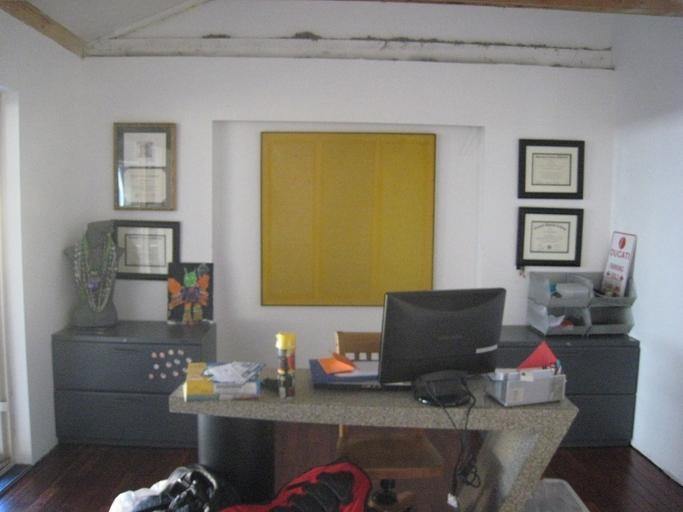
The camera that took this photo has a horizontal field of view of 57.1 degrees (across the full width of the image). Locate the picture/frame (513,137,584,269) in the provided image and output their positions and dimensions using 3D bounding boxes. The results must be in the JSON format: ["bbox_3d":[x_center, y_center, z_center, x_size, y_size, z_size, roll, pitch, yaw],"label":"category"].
[{"bbox_3d":[1.789,-0.515,5.428,1.065,1.020,0.081,1,6,2],"label":"picture/frame"}]

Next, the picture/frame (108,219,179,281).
[{"bbox_3d":[-1.689,-0.079,5.355,0.510,0.447,0.036,0,5,0],"label":"picture/frame"}]

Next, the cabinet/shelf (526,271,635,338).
[{"bbox_3d":[1.963,0.446,5.182,0.855,0.559,0.500,0,-5,-1],"label":"cabinet/shelf"}]

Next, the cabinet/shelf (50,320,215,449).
[{"bbox_3d":[-1.718,0.940,5.378,1.491,1.134,0.849,0,-2,3],"label":"cabinet/shelf"}]

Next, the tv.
[{"bbox_3d":[0.565,0.511,3.564,0.608,0.440,0.158,-1,8,-9],"label":"tv"}]

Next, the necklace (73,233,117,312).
[{"bbox_3d":[-1.998,0.135,5.122,0.344,0.636,0.099,-4,6,-23],"label":"necklace"}]

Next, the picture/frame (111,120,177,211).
[{"bbox_3d":[-1.671,-0.806,5.341,0.736,0.994,0.045,0,6,1],"label":"picture/frame"}]
